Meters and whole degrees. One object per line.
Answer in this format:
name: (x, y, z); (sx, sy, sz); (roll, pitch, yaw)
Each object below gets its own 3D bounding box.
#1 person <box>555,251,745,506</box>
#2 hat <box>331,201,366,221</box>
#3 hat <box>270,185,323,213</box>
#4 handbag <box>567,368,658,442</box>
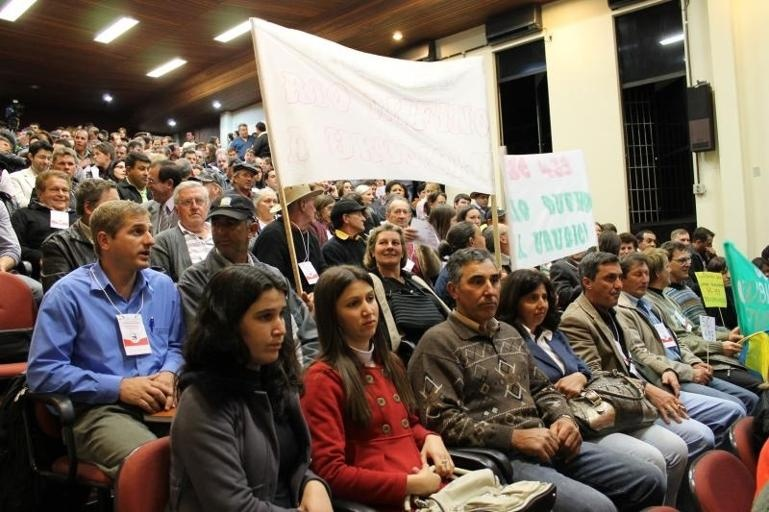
person: (2.136, 1.008, 4.363); (0.790, 1.868, 1.434); (-2, 4, -29)
hat: (-0.386, -0.437, 5.074); (0.251, 0.135, 0.189); (-20, -1, -6)
hat: (-0.790, -0.554, 4.704); (0.384, 0.153, 0.351); (-28, 9, -3)
handbag: (1.599, 1.040, 3.755); (0.590, 0.235, 0.442); (-6, 22, -25)
